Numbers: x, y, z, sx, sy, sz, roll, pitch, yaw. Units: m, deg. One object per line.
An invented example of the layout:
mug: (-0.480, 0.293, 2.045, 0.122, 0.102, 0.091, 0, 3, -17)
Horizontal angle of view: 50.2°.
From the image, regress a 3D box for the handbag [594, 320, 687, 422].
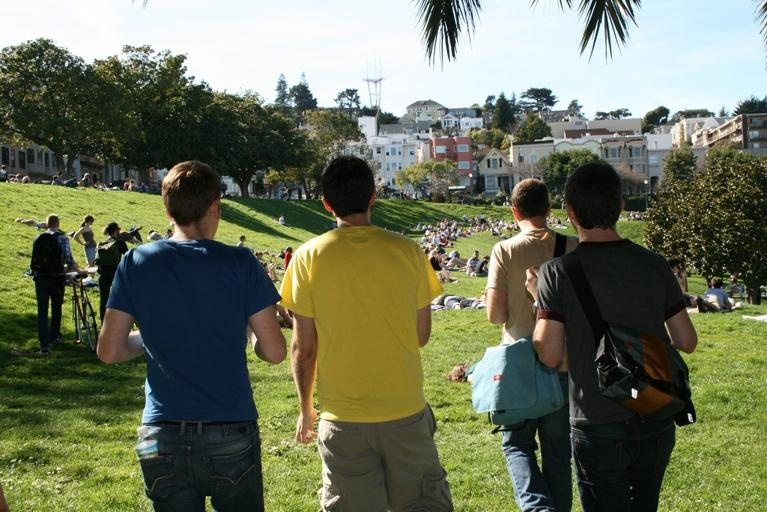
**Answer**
handbag: (2.647, 1.237, 8.555, 0.456, 0.905, 0.771, -31, 23, -25)

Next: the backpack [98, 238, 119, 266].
backpack: (-6.366, -0.073, 18.851, 0.554, 0.720, 0.363, 1, 1, 19)
